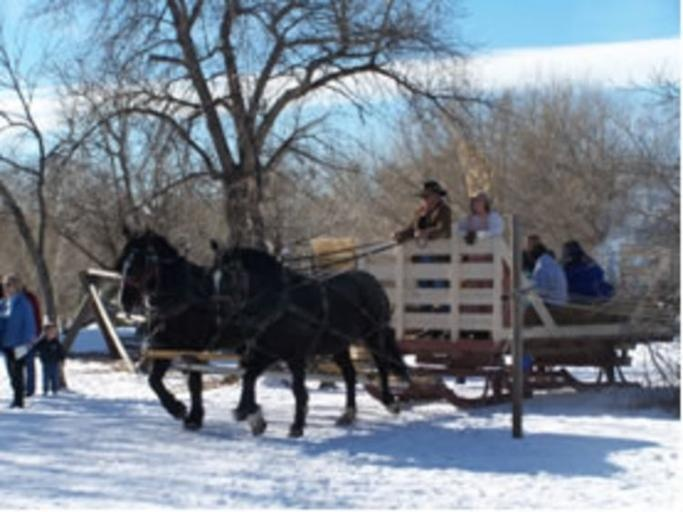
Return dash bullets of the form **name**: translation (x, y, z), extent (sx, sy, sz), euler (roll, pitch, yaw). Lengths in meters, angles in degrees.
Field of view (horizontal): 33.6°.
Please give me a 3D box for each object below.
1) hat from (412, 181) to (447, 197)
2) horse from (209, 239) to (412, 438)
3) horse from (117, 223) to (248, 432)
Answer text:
- **hat**: translation (1.198, -0.903, 15.508), extent (0.352, 0.191, 0.248), euler (4, 6, 36)
- **horse**: translation (-0.371, 1.128, 14.539), extent (3.134, 2.310, 0.901), euler (0, -5, -42)
- **horse**: translation (-2.099, 0.963, 13.923), extent (1.249, 2.538, 0.619), euler (-1, 8, -9)
